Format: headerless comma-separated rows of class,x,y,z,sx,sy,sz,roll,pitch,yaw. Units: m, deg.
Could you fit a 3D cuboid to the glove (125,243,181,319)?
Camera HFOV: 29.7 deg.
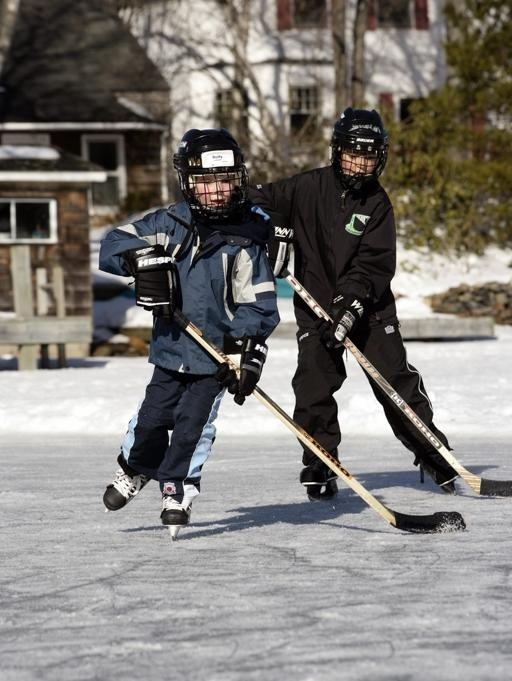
glove,-0.350,-0.204,3.289,0.296,0.234,0.182,-1,11,8

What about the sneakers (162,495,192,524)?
sneakers,-0.282,0.595,3.382,0.095,0.091,0.113,2,5,-4

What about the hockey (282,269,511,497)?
hockey,0.630,0.009,4.279,0.130,1.568,0.482,-42,-18,-15

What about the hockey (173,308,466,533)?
hockey,0.292,0.411,4.522,1.516,0.162,0.137,37,60,19

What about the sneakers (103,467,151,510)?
sneakers,-0.444,0.538,3.616,0.087,0.108,0.248,38,26,4

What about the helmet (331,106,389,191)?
helmet,0.440,-0.819,4.144,0.241,0.361,0.220,3,5,5

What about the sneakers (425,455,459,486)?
sneakers,0.811,0.571,4.295,0.043,0.082,0.170,-22,47,-39

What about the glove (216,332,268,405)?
glove,-0.053,0.103,3.378,0.163,0.230,0.174,2,5,0

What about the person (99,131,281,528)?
person,-0.249,-0.028,3.455,0.633,1.463,0.389,2,6,-7
